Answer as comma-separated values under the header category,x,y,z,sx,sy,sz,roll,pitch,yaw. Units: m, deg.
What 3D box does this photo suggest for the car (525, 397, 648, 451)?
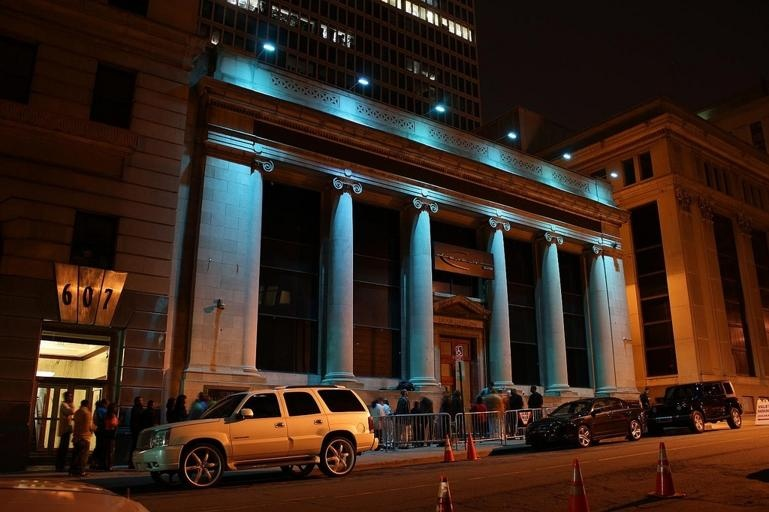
category,x,y,z,sx,sy,sz,roll,pitch,yaw
car,8.554,7.045,26.307,5.329,2.022,1.547,7,-19,-29

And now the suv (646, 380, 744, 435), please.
category,x,y,z,sx,sy,sz,roll,pitch,yaw
suv,15.380,7.477,30.712,5.053,2.459,1.583,7,-19,-28
